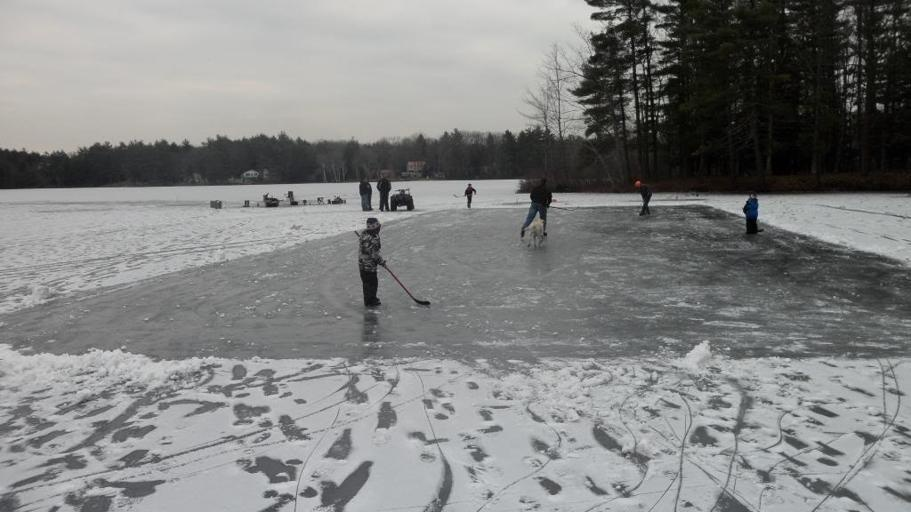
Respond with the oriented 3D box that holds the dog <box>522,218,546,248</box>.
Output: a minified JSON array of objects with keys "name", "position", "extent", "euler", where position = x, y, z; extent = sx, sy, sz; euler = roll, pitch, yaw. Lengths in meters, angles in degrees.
[{"name":"dog","position":[2.986,-0.923,23.542],"extent":[0.720,0.993,1.310],"euler":[0,14,7]}]
